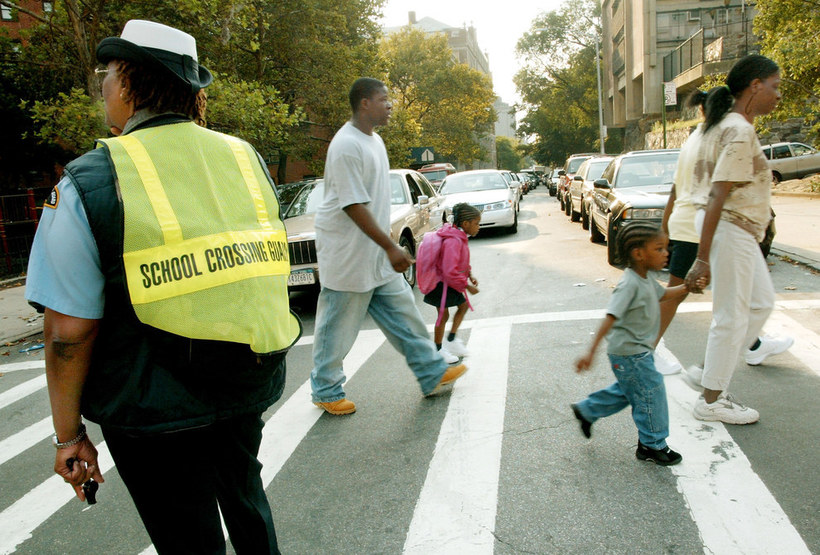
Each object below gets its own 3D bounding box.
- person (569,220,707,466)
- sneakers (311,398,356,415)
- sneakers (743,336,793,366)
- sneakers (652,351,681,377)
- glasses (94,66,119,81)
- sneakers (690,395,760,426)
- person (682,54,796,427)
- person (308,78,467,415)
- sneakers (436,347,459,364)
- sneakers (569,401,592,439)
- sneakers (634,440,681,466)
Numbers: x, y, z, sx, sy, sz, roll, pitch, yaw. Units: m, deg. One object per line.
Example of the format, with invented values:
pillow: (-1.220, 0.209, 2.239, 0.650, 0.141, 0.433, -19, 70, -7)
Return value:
person: (1.433, 0.421, 4.398, 0.748, 1.520, 0.686, -3, 13, 7)
sneakers: (-0.622, 1.031, 5.377, 0.291, 0.141, 0.140, 0, 3, 11)
sneakers: (3.064, 0.580, 5.790, 0.410, 0.182, 0.200, -20, 15, -4)
sneakers: (2.154, 0.732, 5.635, 0.253, 0.103, 0.306, 10, 14, 38)
glasses: (-1.319, -0.899, 2.924, 0.093, 0.028, 0.088, -2, 13, -4)
sneakers: (2.246, 0.955, 4.861, 0.461, 0.211, 0.180, 0, 3, 6)
person: (2.271, -0.268, 4.748, 0.550, 2.525, 0.875, 2, 15, 28)
person: (-0.337, -0.227, 5.276, 1.019, 2.597, 0.797, 1, 14, 24)
sneakers: (0.368, 0.726, 6.203, 0.100, 0.114, 0.294, -5, -8, -2)
sneakers: (1.190, 0.999, 4.651, 0.087, 0.245, 0.155, -21, 29, 8)
sneakers: (1.615, 1.141, 4.386, 0.243, 0.116, 0.122, 1, 11, 16)
